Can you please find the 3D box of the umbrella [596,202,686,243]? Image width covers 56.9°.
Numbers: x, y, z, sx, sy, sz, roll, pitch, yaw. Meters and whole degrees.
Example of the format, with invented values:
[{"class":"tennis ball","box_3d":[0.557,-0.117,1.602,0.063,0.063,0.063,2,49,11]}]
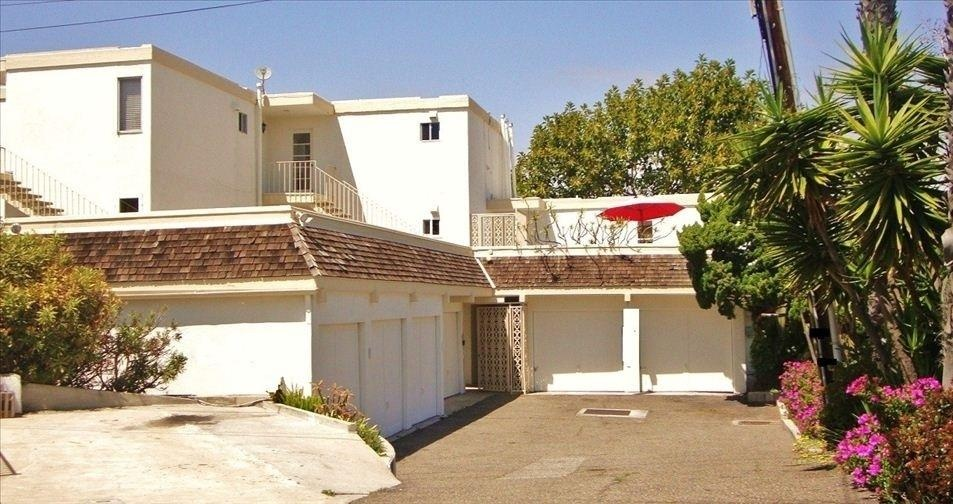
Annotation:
[{"class":"umbrella","box_3d":[7.800,-1.851,41.028,2.605,1.414,2.616,-11,-10,36]}]
